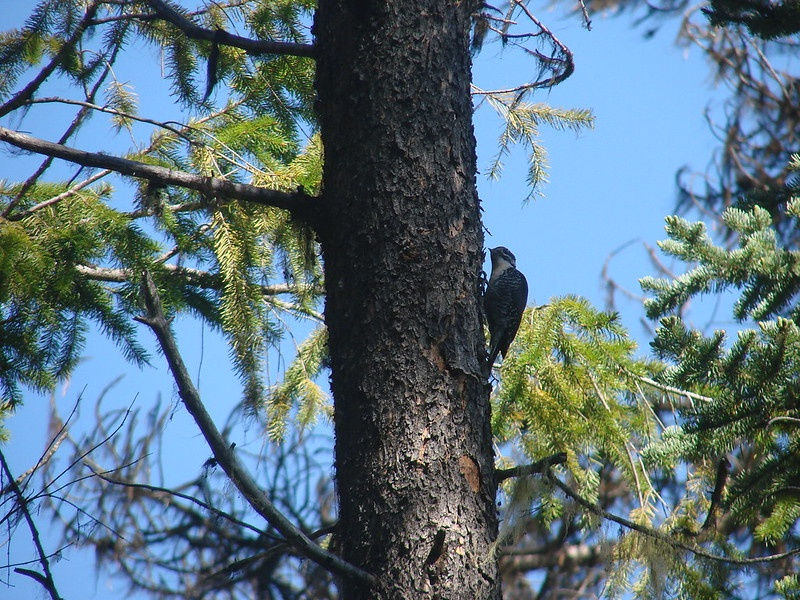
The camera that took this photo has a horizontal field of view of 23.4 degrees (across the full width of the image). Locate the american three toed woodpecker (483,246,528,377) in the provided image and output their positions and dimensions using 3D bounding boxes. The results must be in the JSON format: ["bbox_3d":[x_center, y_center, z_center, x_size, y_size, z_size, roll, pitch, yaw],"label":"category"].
[{"bbox_3d":[0.775,0.168,14.080,0.370,0.822,0.302,34,-53,-11],"label":"american three toed woodpecker"}]
